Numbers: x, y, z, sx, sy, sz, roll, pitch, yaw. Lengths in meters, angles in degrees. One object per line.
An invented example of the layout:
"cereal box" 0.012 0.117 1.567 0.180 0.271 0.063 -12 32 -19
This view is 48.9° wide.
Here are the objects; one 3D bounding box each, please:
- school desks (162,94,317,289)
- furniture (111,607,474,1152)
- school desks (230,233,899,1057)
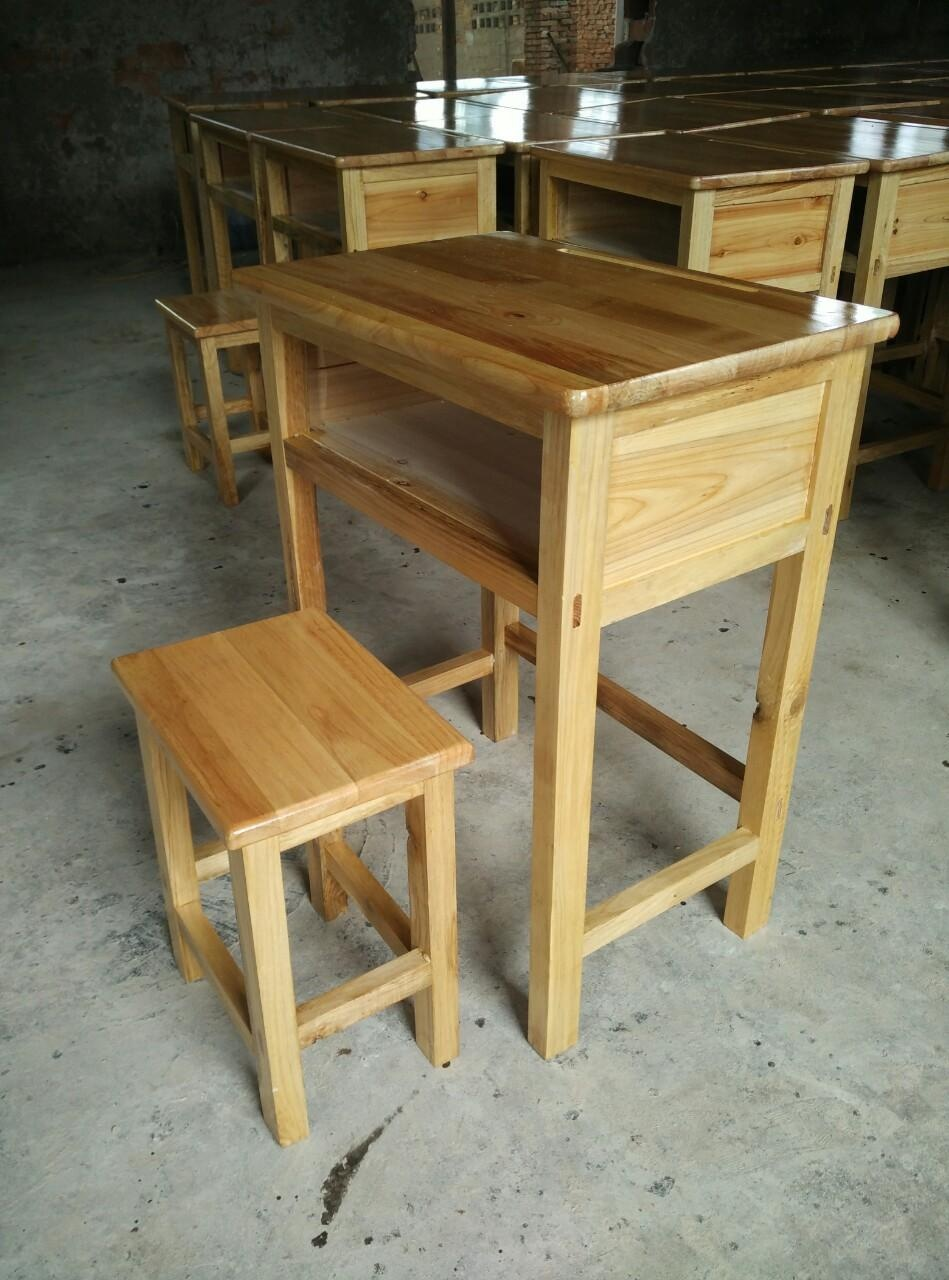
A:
"school desks" -0.836 -1.850 4.516 0.635 0.845 0.753 -11 40 1
"furniture" -0.247 0.355 1.402 0.395 0.571 0.474 -22 49 -22
"school desks" 0.105 -0.022 1.546 0.537 1.007 0.744 -17 33 -29
